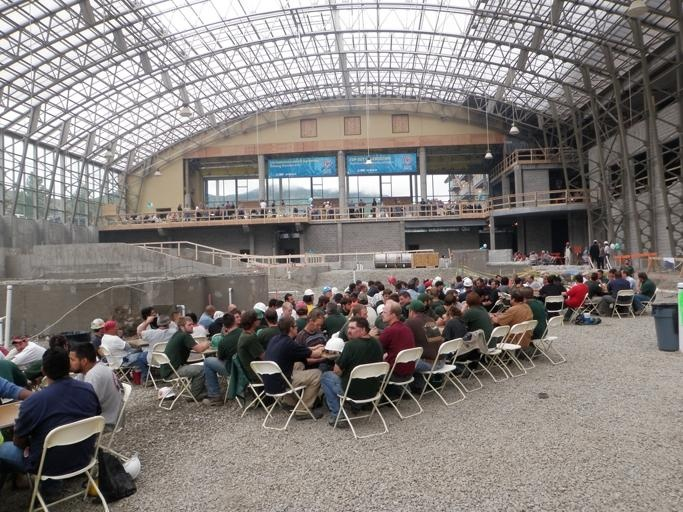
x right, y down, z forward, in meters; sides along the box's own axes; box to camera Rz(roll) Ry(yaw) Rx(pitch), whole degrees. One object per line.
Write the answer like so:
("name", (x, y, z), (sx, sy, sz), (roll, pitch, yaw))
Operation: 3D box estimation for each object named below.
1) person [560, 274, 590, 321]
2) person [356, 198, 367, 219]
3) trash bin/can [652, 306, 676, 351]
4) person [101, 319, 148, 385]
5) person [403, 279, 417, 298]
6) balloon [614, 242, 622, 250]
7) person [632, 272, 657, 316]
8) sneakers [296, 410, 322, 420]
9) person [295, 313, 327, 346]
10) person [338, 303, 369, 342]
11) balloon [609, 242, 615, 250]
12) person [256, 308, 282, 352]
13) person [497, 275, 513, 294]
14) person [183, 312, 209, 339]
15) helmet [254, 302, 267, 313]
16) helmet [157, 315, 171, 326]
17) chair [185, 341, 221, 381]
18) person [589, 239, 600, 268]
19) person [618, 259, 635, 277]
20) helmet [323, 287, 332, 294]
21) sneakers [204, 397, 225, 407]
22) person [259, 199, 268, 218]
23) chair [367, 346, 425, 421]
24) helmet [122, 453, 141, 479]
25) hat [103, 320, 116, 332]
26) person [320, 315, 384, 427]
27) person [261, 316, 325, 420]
("person", (7.534, 1.331, 18.790), (0.847, 1.471, 0.772), (12, 8, 26))
("person", (1.487, -3.543, 43.914), (0.685, 1.323, 1.067), (-4, 0, 1))
("trash bin/can", (8.093, 1.752, 14.364), (0.528, 1.110, 0.691), (-4, 0, 30))
("person", (-5.295, 2.337, 13.995), (0.763, 1.661, 0.968), (6, 14, 43))
("person", (2.065, 0.974, 17.157), (0.346, 0.363, 1.099), (4, 15, 14))
("balloon", (15.279, -0.570, 31.850), (0.333, 0.373, 0.467), (-7, 13, 23))
("person", (9.944, 1.201, 18.929), (0.676, 1.243, 1.286), (-4, 0, 29))
("sneakers", (-0.669, 3.222, 11.910), (0.531, 0.249, 0.199), (0, -2, -8))
("person", (-0.652, 1.542, 12.465), (0.496, 0.793, 0.921), (11, 5, 19))
("person", (0.319, 1.311, 12.463), (0.565, 0.703, 0.732), (-7, 17, -3))
("balloon", (14.790, -0.538, 31.523), (0.253, 0.341, 0.340), (9, -39, -5))
("person", (-1.563, 1.627, 12.479), (0.606, 1.276, 0.721), (2, 16, -2))
("person", (5.700, 0.999, 20.161), (0.400, 0.970, 0.317), (5, 41, 26))
("person", (-3.582, 1.717, 14.176), (0.547, 0.671, 0.698), (-3, -3, -23))
("helmet", (-2.300, 1.429, 16.377), (0.363, 0.248, 0.474), (7, -21, 1))
("helmet", (-4.113, 1.477, 13.395), (0.237, 0.360, 0.249), (6, 38, -13))
("chair", (-3.030, 2.259, 13.232), (0.716, 1.002, 0.998), (-5, -5, 43))
("person", (12.710, -0.022, 28.906), (0.455, 1.242, 1.530), (-4, 0, 22))
("person", (11.482, 0.469, 23.135), (0.377, 1.049, 0.482), (19, -27, -41))
("helmet", (-0.410, 0.998, 17.009), (0.354, 0.157, 0.437), (-1, -4, -9))
("sneakers", (-2.792, 3.193, 12.747), (0.380, 0.266, 0.178), (14, -5, 1))
("person", (-5.660, -3.460, 42.087), (0.585, 1.322, 1.978), (-4, 0, -6))
("chair", (1.184, 2.620, 12.246), (1.013, 1.879, 1.338), (0, 0, -38))
("helmet", (-3.763, 3.753, 10.345), (0.346, 0.320, 0.262), (0, 7, 34))
("hat", (-5.473, 1.654, 13.680), (0.255, 0.295, 0.396), (-4, 0, -26))
("person", (0.210, 2.250, 11.366), (1.213, 2.043, 0.867), (-4, 0, 12))
("person", (-0.981, 2.275, 11.840), (1.179, 2.062, 0.585), (-4, 0, -22))
